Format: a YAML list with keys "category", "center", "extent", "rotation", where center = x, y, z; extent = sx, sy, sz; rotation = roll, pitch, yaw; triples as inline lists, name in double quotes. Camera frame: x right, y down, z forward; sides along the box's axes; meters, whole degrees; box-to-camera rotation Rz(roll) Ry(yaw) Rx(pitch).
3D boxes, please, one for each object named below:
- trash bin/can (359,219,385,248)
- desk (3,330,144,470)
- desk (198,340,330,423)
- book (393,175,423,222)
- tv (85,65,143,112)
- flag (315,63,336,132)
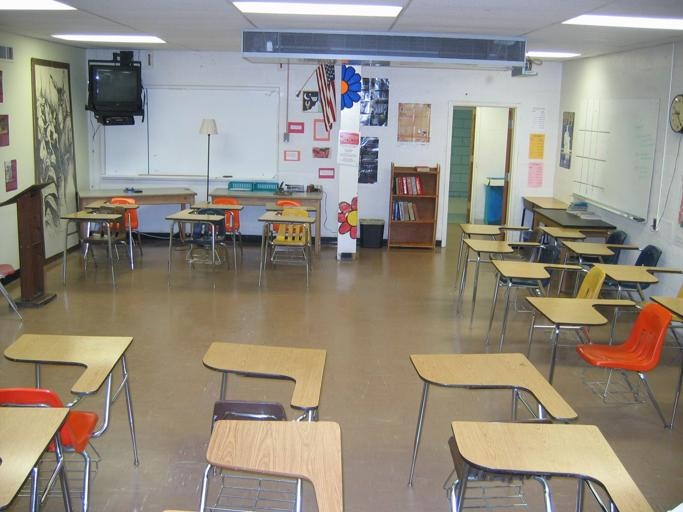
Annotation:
- category: "trash bin/can"
  center: [0.539, -0.428, 10.450]
  extent: [0.518, 0.497, 0.426]
  rotation: [1, 14, 2]
- category: "desk"
  center: [-1.919, 1.063, 4.026]
  extent: [0.824, 0.790, 0.686]
  rotation: [3, 14, 8]
- category: "desk"
  center: [-0.514, 0.764, 3.855]
  extent: [0.668, 0.409, 0.601]
  rotation: [6, 19, 1]
- category: "book"
  center: [1.371, -1.081, 10.895]
  extent: [0.690, 1.280, 0.940]
  rotation: [0, 6, 2]
- category: "tv"
  center: [-3.969, -2.928, 9.762]
  extent: [0.807, 0.751, 0.433]
  rotation: [0, 8, -9]
- category: "flag"
  center: [-0.282, -2.856, 10.149]
  extent: [0.394, 1.157, 0.100]
  rotation: [2, 16, 8]
